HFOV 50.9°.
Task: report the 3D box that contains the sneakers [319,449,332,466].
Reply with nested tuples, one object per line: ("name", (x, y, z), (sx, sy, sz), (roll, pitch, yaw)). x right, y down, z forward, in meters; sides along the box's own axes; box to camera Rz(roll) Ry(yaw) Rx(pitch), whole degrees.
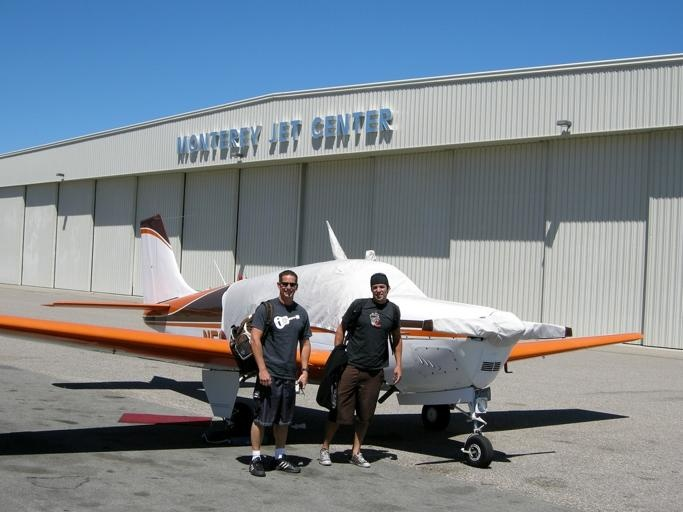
("sneakers", (-0.160, 2.184, 7.842), (0.133, 0.162, 0.248), (2, 1, -1))

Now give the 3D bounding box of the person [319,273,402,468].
("person", (0.240, 1.244, 7.901), (0.852, 1.920, 0.372), (2, 1, -1))

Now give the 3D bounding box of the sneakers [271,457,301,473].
("sneakers", (-0.558, 2.214, 7.595), (0.311, 0.136, 0.122), (3, -5, 34))

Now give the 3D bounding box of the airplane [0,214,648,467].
("airplane", (-0.709, 0.976, 9.124), (5.258, 1.769, 4.722), (3, -4, -42))

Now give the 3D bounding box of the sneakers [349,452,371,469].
("sneakers", (0.223, 2.218, 7.804), (0.229, 0.163, 0.157), (2, 1, -1))

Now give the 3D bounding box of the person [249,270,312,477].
("person", (-0.641, 1.221, 7.559), (0.648, 1.849, 0.393), (2, 1, -7))

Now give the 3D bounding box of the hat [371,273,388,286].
("hat", (0.432, 0.262, 7.930), (0.146, 0.109, 0.151), (2, -1, 11))

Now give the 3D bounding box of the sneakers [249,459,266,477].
("sneakers", (-0.855, 2.188, 7.417), (0.171, 0.151, 0.134), (2, 1, -4))
